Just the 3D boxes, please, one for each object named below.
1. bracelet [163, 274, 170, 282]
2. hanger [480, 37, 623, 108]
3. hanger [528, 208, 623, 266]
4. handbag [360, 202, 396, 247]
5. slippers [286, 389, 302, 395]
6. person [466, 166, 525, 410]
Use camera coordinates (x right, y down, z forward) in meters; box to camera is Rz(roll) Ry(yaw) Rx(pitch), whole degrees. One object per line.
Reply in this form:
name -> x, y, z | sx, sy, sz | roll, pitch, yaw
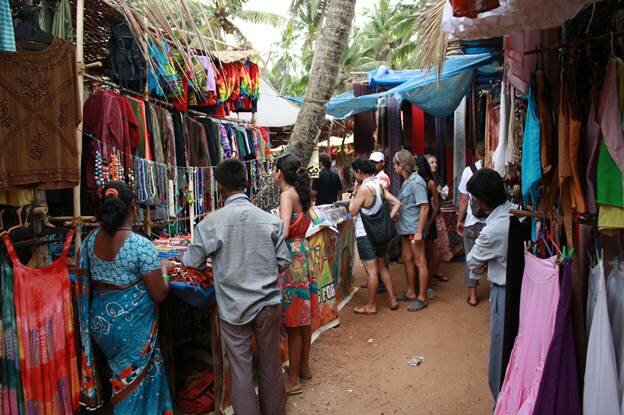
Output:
bracelet -> -1.378, 0.666, 4.639 | 0.021, 0.060, 0.046 | -12, 16, -43
hanger -> 2.215, -1.383, 4.593 | 0.688, 0.608, 1.405 | -4, 10, -2
hanger -> 2.121, 0.181, 4.133 | 0.320, 0.344, 0.866 | -10, 12, -34
handbag -> 0.944, 0.245, 7.241 | 0.391, 0.513, 0.289 | -27, 1, -20
slippers -> -0.199, 2.006, 5.357 | 0.156, 0.047, 0.063 | 5, -8, -23
person -> 1.761, 0.737, 4.925 | 0.422, 2.234, 0.595 | 1, 11, 23
